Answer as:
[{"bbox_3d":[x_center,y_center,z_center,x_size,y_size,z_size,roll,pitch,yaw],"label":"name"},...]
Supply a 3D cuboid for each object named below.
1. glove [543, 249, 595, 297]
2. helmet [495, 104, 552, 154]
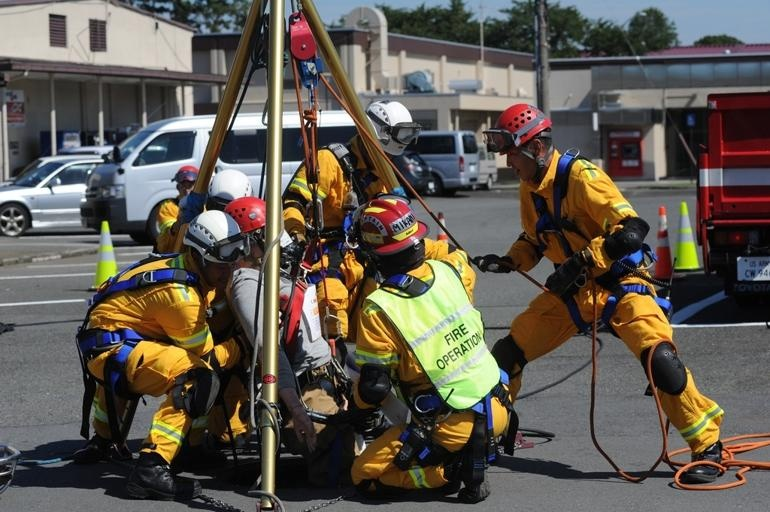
[{"bbox_3d":[2.106,0.183,14.595,0.394,0.610,0.486,1,1,3],"label":"glove"},{"bbox_3d":[1.587,-1.481,15.020,0.656,0.400,0.485,-8,2,-2],"label":"helmet"}]
